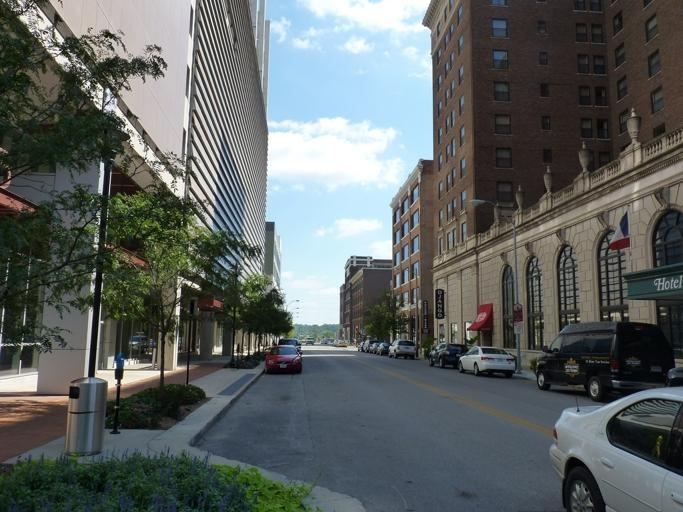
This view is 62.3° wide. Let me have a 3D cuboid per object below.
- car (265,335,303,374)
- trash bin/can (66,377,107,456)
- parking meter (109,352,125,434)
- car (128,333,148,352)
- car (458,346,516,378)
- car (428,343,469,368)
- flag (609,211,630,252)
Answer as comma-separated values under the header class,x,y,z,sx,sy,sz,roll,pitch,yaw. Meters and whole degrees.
class,x,y,z,sx,sy,sz,roll,pitch,yaw
car,-2.942,5.375,30.659,1.446,1.388,3.810,-1,-12,-1
trash bin/can,-4.845,3.015,10.838,0.667,1.475,0.803,6,1,23
parking meter,-4.849,3.033,12.323,0.258,1.610,0.275,-3,-11,15
car,-12.115,5.179,33.713,0.911,1.013,1.764,0,-17,-14
car,7.576,5.670,30.492,1.306,1.194,3.386,2,-6,-5
car,6.787,6.486,36.929,1.087,1.144,2.890,1,-7,-6
flag,13.253,-1.253,26.967,0.746,1.923,1.273,-8,-13,33
